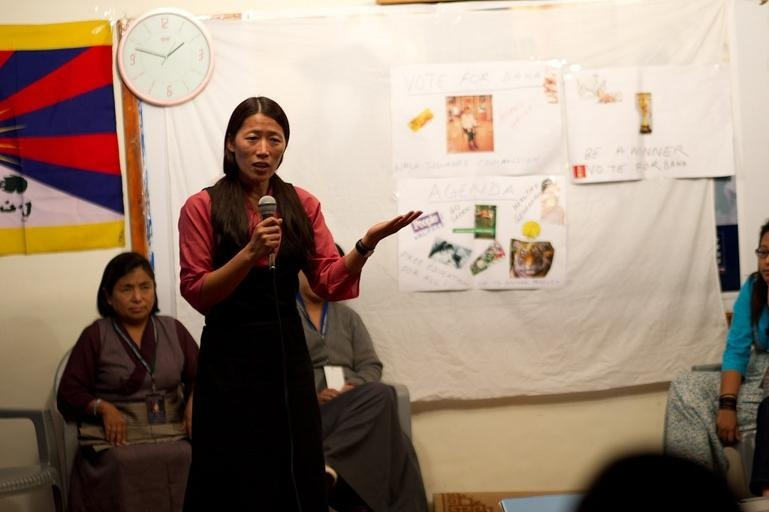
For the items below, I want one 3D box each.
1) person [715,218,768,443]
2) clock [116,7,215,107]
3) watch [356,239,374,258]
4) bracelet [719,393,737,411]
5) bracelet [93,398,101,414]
[{"bbox_3d":[2.006,0.424,3.279,0.174,1.194,0.523,4,8,43],"label":"person"},{"bbox_3d":[-1.335,-1.186,3.564,0.541,0.574,0.070,-2,-4,3],"label":"clock"},{"bbox_3d":[-0.083,-0.036,2.502,0.079,0.056,0.084,31,16,11],"label":"watch"},{"bbox_3d":[1.867,0.795,3.194,0.081,0.071,0.084,1,-6,12],"label":"bracelet"},{"bbox_3d":[-1.610,0.841,3.282,0.041,0.071,0.040,-1,6,8],"label":"bracelet"}]
